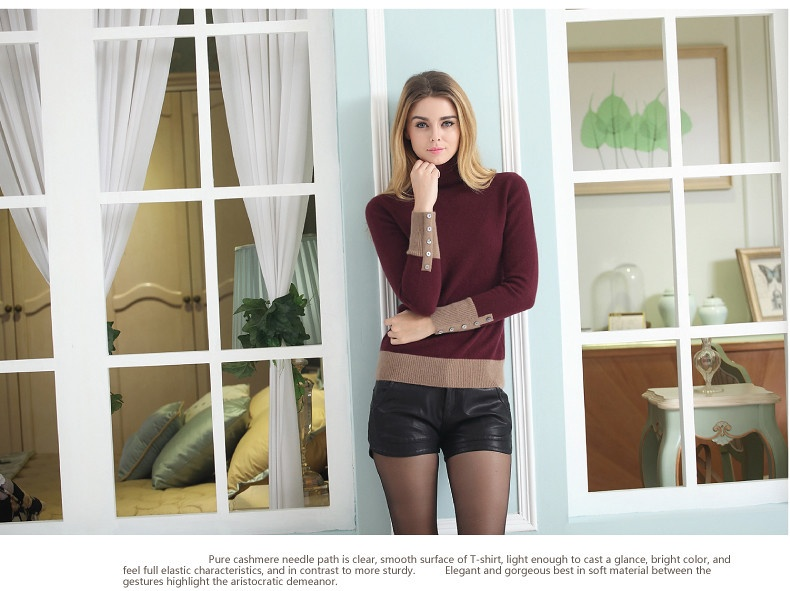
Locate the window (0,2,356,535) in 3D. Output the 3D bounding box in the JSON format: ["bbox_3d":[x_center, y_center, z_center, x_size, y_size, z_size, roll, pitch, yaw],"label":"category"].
[{"bbox_3d":[-1.024,-0.111,3.163,1.526,2.237,0.088,-3,0,0],"label":"window"}]

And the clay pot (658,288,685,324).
[{"bbox_3d":[1.455,0.063,3.741,0.114,0.223,0.118,-6,11,1],"label":"clay pot"}]

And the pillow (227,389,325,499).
[{"bbox_3d":[-0.558,0.805,3.632,0.166,0.544,0.561,22,-43,-30],"label":"pillow"}]

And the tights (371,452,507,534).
[{"bbox_3d":[0.182,0.755,2.686,0.515,0.317,0.073,-3,0,8],"label":"tights"}]

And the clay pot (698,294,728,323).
[{"bbox_3d":[1.669,0.057,3.759,0.157,0.201,0.155,0,3,0],"label":"clay pot"}]
